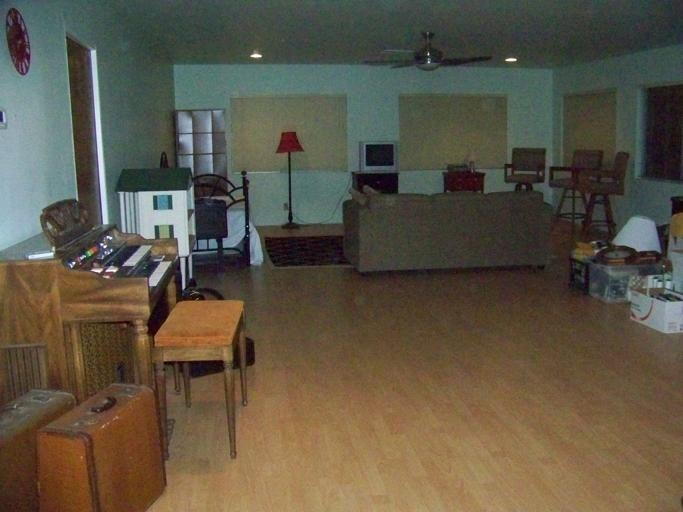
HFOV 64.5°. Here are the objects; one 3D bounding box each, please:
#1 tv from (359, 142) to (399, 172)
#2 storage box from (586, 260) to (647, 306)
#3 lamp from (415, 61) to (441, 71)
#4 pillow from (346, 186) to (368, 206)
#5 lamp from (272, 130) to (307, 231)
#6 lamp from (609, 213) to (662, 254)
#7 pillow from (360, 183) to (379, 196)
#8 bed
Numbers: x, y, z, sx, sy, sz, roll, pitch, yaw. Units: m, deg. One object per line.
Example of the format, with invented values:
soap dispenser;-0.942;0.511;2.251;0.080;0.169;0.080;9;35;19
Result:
tv;0.621;-1.664;9.048;0.742;0.552;0.435;-1;6;-6
storage box;2.516;0.237;4.993;0.344;0.357;0.356;-1;4;-7
lamp;0.940;-2.022;5.789;0.222;0.065;0.317;3;10;20
pillow;0.179;-0.677;6.003;0.144;0.111;0.394;-16;16;-12
lamp;-0.839;-1.273;8.996;0.428;1.595;0.715;-1;10;-4
lamp;2.743;-0.198;5.033;0.396;0.271;0.363;8;8;8
pillow;0.335;-0.729;6.064;0.284;0.121;0.322;1;6;-2
bed;-1.666;-0.636;7.222;1.089;1.300;1.907;-2;15;-9
